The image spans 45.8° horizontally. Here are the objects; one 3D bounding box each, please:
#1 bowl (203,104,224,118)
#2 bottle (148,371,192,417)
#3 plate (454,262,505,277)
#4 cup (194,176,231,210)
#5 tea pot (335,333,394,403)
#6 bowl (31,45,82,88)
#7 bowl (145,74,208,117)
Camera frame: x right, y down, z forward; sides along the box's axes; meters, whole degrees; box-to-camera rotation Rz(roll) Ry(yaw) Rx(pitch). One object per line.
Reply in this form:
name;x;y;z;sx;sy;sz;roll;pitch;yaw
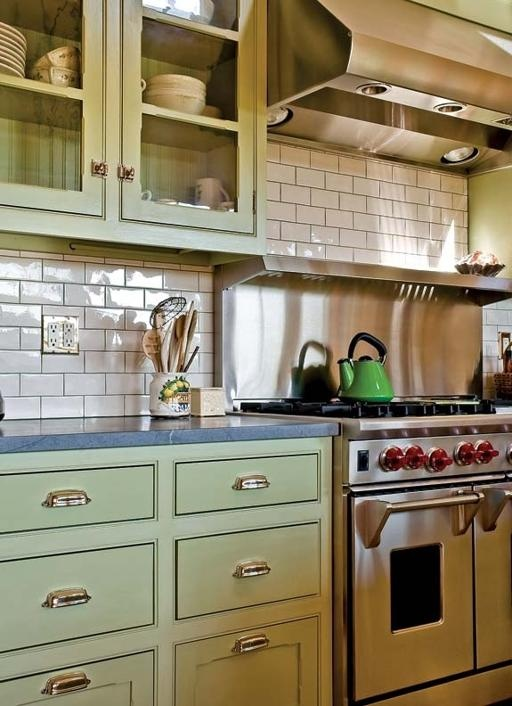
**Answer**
bowl;-0.129;-0.734;1.849;0.049;0.034;0.048;3;3;0
bottle;-0.254;0.122;1.759;0.127;0.125;0.125;3;-5;-35
plate;0.975;-0.360;2.631;0.118;0.031;0.117;0;-3;11
cup;-0.133;-0.481;1.838;0.128;0.116;0.074;0;-7;-5
tea pot;0.361;0.045;2.014;0.165;0.219;0.293;-1;3;8
bowl;-0.521;-0.726;1.579;0.112;0.102;0.121;-5;-9;-1
bowl;-0.234;-0.753;1.773;0.147;0.078;0.128;-1;1;-17
